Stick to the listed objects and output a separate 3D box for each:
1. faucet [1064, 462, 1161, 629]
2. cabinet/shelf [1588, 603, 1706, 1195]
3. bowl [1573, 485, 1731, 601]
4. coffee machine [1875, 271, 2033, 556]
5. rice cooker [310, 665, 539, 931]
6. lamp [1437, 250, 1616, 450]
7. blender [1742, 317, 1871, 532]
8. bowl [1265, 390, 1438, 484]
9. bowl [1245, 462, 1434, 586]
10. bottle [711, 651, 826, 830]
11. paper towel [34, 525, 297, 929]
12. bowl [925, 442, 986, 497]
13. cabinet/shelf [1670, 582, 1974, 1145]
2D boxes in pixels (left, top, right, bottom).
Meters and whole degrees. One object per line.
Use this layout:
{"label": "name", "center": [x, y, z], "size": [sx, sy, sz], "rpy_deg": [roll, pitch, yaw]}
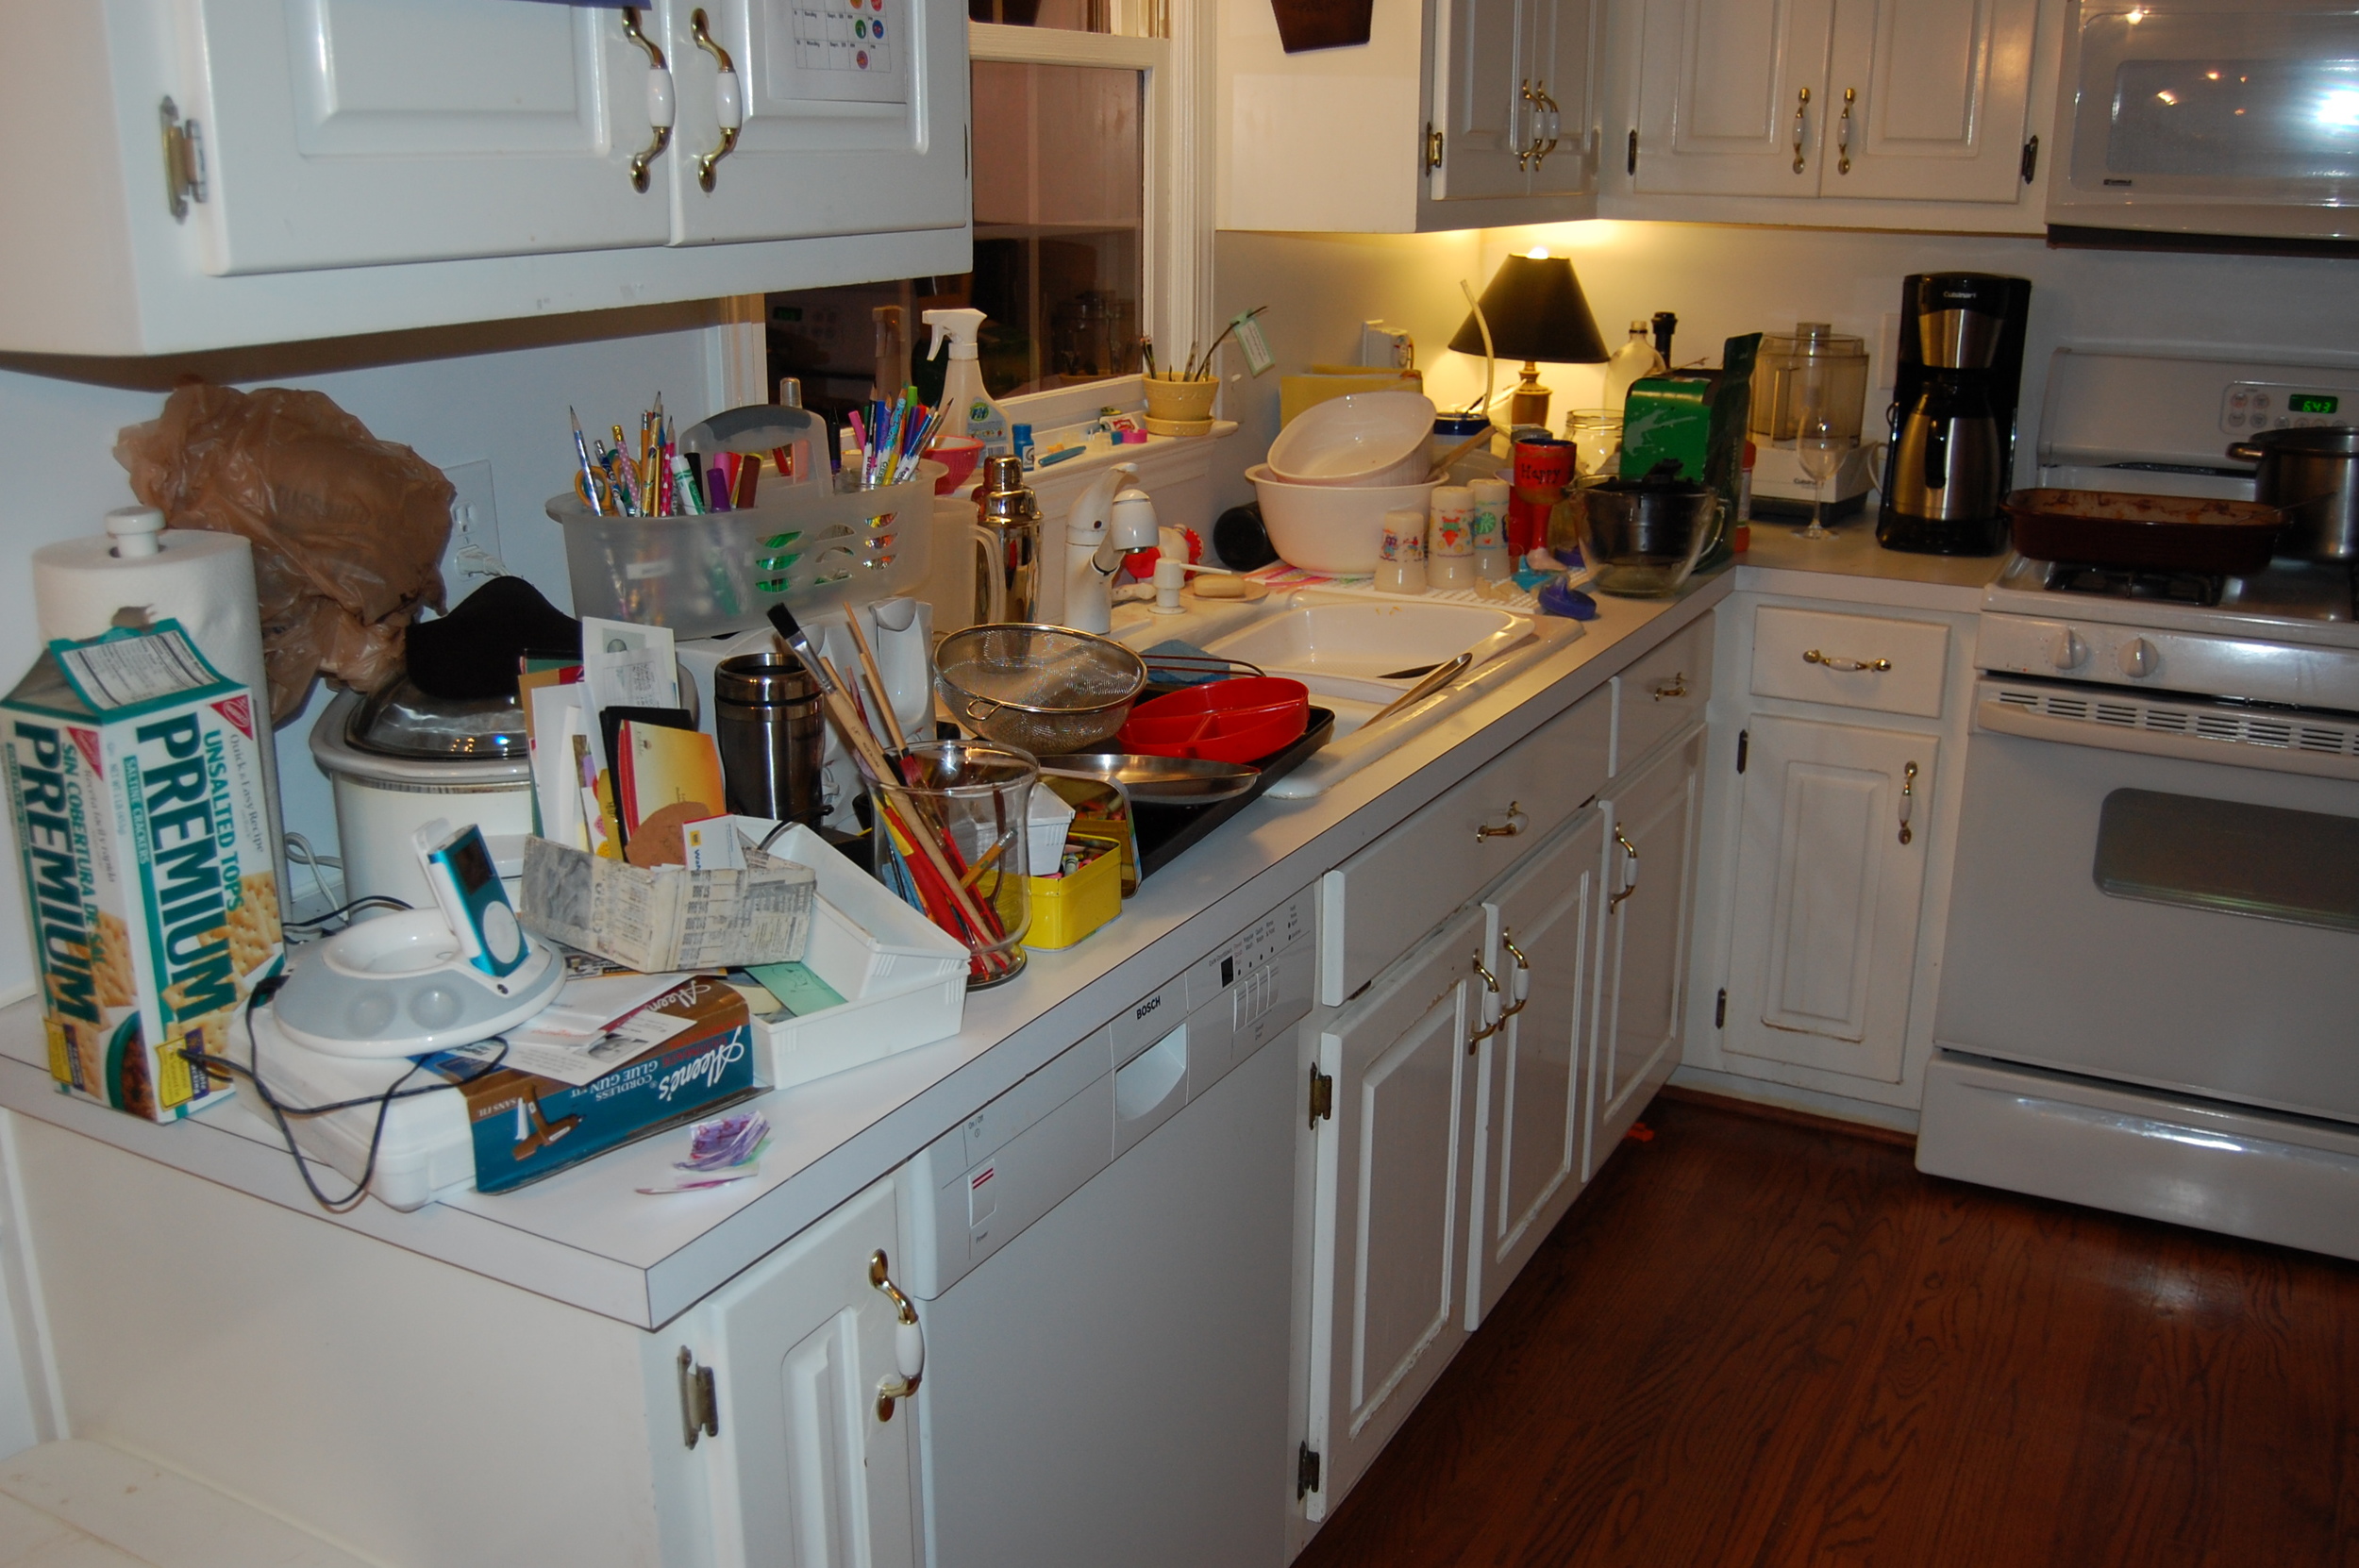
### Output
{"label": "faucet", "center": [-0.115, -0.356, 2.646], "size": [0.152, 0.231, 0.135], "rpy_deg": [-11, 21, -20]}
{"label": "cabinet/shelf", "center": [0.879, 0.215, 3.236], "size": [0.248, 1.049, 0.320], "rpy_deg": [9, 28, 18]}
{"label": "bowl", "center": [0.873, -0.454, 3.166], "size": [0.276, 0.196, 0.235], "rpy_deg": [-2, 15, 1]}
{"label": "coffee machine", "center": [1.583, -0.754, 3.499], "size": [0.262, 0.600, 0.260], "rpy_deg": [-18, 26, -41]}
{"label": "rice cooker", "center": [-0.782, -0.012, 1.816], "size": [0.193, 0.252, 0.222], "rpy_deg": [-5, 22, -25]}
{"label": "lamp", "center": [0.756, -0.980, 3.852], "size": [0.355, 0.461, 0.408], "rpy_deg": [-10, 25, -42]}
{"label": "blender", "center": [1.354, -0.781, 3.750], "size": [0.278, 0.508, 0.271], "rpy_deg": [9, 23, 29]}
{"label": "bowl", "center": [0.315, -0.633, 3.153], "size": [0.233, 0.058, 0.220], "rpy_deg": [-11, 44, 10]}
{"label": "bowl", "center": [0.338, -0.451, 3.159], "size": [0.319, 0.178, 0.317], "rpy_deg": [7, 5, -1]}
{"label": "bottle", "center": [-0.429, -0.048, 1.807], "size": [0.065, 0.174, 0.133], "rpy_deg": [9, 18, 19]}
{"label": "paper towel", "center": [-0.961, -0.066, 1.676], "size": [0.126, 0.342, 0.244], "rpy_deg": [9, 18, 27]}
{"label": "bowl", "center": [-0.329, -0.462, 2.509], "size": [0.101, 0.072, 0.083], "rpy_deg": [-4, 25, -1]}
{"label": "cabinet/shelf", "center": [1.270, 0.113, 3.653], "size": [0.494, 1.080, 0.645], "rpy_deg": [5, 20, 20]}
